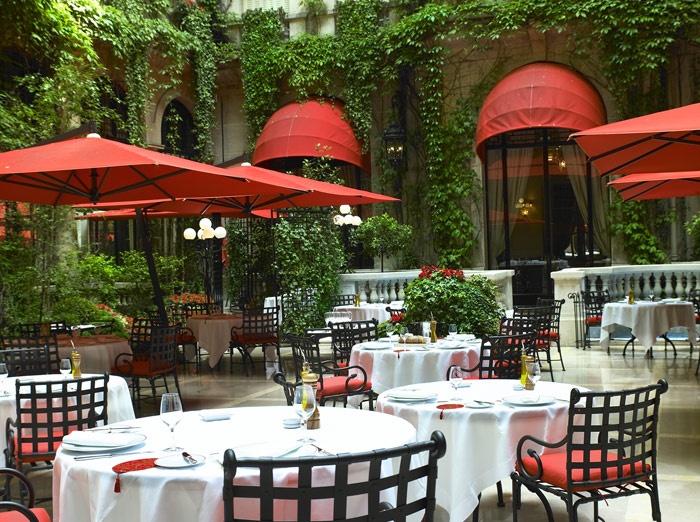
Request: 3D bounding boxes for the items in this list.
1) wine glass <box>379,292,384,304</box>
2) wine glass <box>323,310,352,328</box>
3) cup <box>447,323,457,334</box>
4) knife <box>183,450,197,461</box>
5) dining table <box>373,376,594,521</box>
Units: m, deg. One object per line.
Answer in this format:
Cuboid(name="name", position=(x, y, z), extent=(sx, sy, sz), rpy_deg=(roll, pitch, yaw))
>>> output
Cuboid(name="wine glass", position=(0.676, 0.792, 17.052), extent=(0.125, 0.246, 0.128), rpy_deg=(4, -13, -29))
Cuboid(name="wine glass", position=(-0.216, 1.006, 13.913), extent=(0.291, 0.260, 0.326), rpy_deg=(0, -2, -11))
Cuboid(name="cup", position=(1.229, 0.833, 9.775), extent=(0.108, 0.129, 0.116), rpy_deg=(-1, 1, 0))
Cuboid(name="knife", position=(-1.197, 1.477, 6.045), extent=(0.044, 0.051, 0.174), rpy_deg=(-2, 2, -21))
Cuboid(name="dining table", position=(1.073, 1.540, 7.502), extent=(1.349, 1.005, 1.470), rpy_deg=(-1, 4, 2))
